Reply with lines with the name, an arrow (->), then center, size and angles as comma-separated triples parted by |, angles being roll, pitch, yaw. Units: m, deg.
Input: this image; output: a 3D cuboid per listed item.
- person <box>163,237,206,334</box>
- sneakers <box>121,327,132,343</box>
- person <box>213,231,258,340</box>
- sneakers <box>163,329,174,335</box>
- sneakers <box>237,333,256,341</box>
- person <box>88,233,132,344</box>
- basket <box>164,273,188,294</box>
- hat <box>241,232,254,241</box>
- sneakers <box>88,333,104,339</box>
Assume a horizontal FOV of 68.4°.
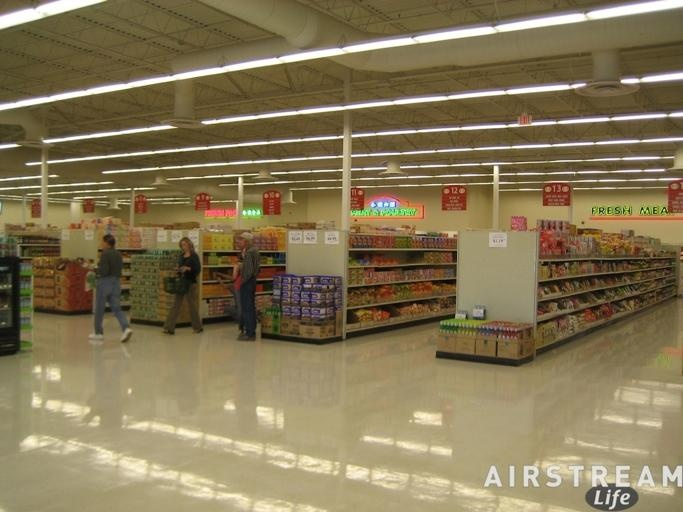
person -> -3.164, 0.588, 10.132 | 0.682, 1.909, 1.097 | 1, 2, -10
sneakers -> -3.863, 1.423, 9.059 | 0.147, 0.140, 0.337 | 7, -36, -43
person -> -1.826, 0.574, 9.577 | 0.468, 2.021, 0.584 | 1, 2, -11
sneakers -> -3.412, 1.497, 9.973 | 0.243, 0.093, 0.084 | 16, -12, -29
sneakers -> -1.802, 1.528, 9.522 | 0.236, 0.093, 0.137 | 5, -5, -13
person -> -4.246, 0.579, 9.234 | 0.656, 1.949, 1.155 | 1, 2, -26
basket -> -3.128, 0.550, 9.792 | 0.460, 0.432, 0.279 | -3, -3, 25
hat -> -1.837, -0.395, 9.689 | 0.181, 0.108, 0.251 | 2, 23, -45
sneakers -> -4.576, 1.488, 9.346 | 0.305, 0.118, 0.109 | 5, 2, 14
